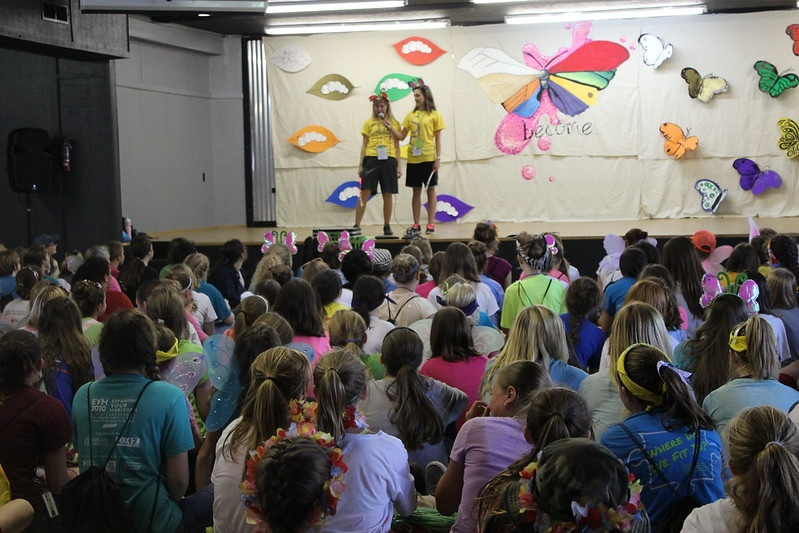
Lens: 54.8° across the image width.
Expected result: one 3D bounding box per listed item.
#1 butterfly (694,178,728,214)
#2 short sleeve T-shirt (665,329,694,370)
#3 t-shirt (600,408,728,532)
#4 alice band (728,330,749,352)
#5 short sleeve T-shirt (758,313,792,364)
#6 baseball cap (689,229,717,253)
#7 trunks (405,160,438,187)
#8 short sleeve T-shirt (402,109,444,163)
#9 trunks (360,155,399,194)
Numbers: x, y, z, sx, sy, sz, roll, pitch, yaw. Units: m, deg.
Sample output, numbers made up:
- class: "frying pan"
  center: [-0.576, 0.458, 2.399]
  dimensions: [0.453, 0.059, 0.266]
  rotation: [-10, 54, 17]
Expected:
- class: "butterfly"
  center: [4.755, -1.050, 11.787]
  dimensions: [0.478, 0.520, 0.098]
  rotation: [1, 3, -2]
- class: "short sleeve T-shirt"
  center: [1.896, 0.592, 5.211]
  dimensions: [0.134, 0.197, 0.106]
  rotation: [3, -14, 32]
- class: "t-shirt"
  center: [1.395, 1.085, 4.055]
  dimensions: [0.595, 0.612, 0.328]
  rotation: [3, -1, 9]
- class: "alice band"
  center: [2.061, 0.465, 4.678]
  dimensions: [0.085, 0.084, 0.108]
  rotation: [-2, -2, 12]
- class: "short sleeve T-shirt"
  center: [2.749, 0.545, 5.658]
  dimensions: [0.205, 0.355, 0.436]
  rotation: [2, 3, 30]
- class: "baseball cap"
  center: [2.912, -0.240, 7.386]
  dimensions: [0.220, 0.185, 0.341]
  rotation: [14, 32, 10]
- class: "trunks"
  center: [0.300, -1.185, 10.264]
  dimensions: [0.477, 0.495, 0.290]
  rotation: [0, 3, 1]
- class: "short sleeve T-shirt"
  center: [0.309, -1.686, 10.099]
  dimensions: [0.523, 0.713, 0.340]
  rotation: [1, 3, -1]
- class: "trunks"
  center: [-0.260, -1.172, 10.155]
  dimensions: [0.492, 0.512, 0.279]
  rotation: [1, -16, -13]
